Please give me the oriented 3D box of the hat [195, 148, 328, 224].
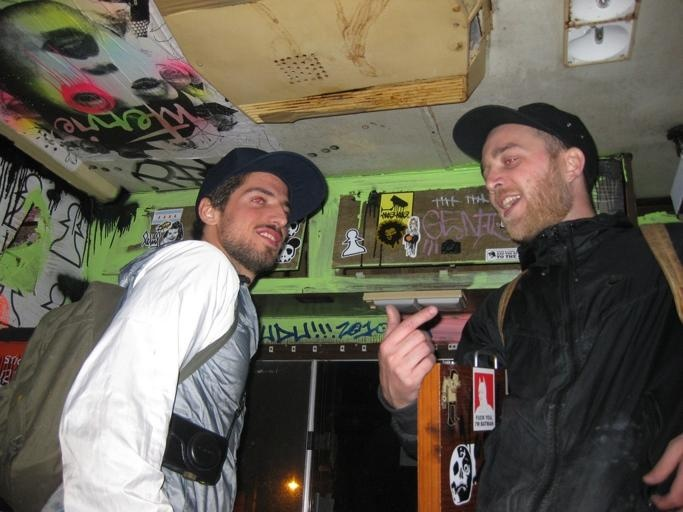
[{"bbox_3d":[-0.466,-0.415,2.968,0.634,0.321,0.456,-28,-33,30],"label":"hat"}]
